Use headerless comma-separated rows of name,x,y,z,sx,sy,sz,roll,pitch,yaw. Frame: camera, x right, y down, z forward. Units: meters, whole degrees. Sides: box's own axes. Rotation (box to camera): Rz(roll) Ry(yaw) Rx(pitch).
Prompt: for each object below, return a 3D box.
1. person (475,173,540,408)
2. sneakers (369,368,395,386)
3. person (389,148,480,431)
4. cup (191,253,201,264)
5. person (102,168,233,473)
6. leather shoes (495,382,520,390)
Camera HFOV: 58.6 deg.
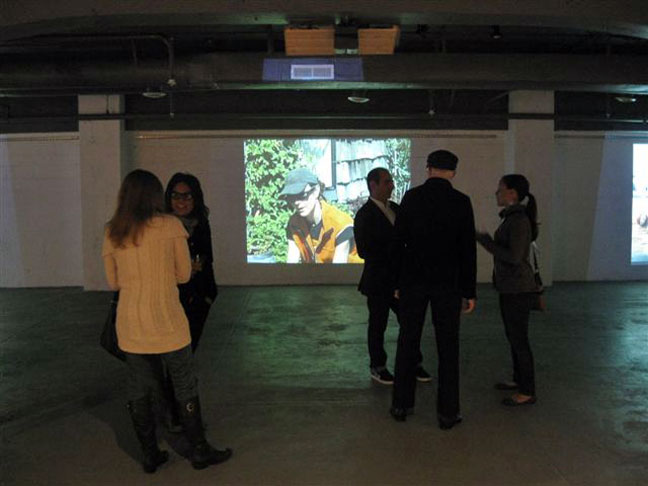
person,1.827,0.432,5.622,0.548,2.172,0.652,2,9,20
sneakers,0.606,1.403,6.033,0.120,0.109,0.253,1,-3,-41
person,0.963,0.410,5.128,0.718,2.424,0.447,1,8,9
cup,-1.102,0.136,4.982,0.082,0.073,0.135,-6,1,-13
person,-1.282,0.627,4.486,0.735,2.359,0.374,-4,9,-22
leather shoes,1.866,1.446,5.872,0.210,0.079,0.076,3,0,5
